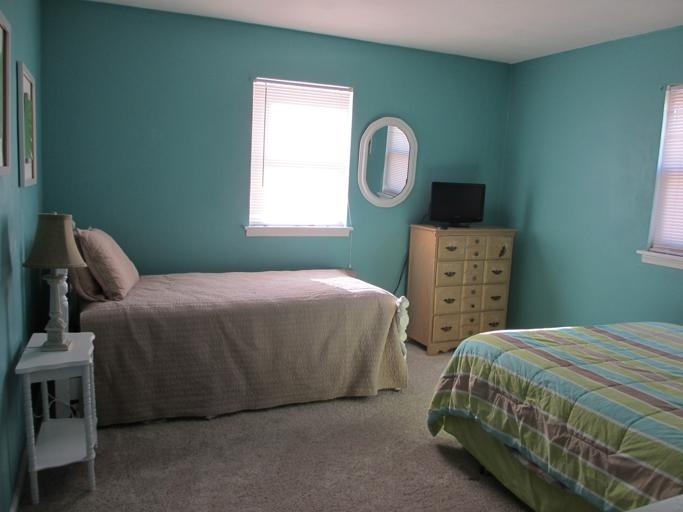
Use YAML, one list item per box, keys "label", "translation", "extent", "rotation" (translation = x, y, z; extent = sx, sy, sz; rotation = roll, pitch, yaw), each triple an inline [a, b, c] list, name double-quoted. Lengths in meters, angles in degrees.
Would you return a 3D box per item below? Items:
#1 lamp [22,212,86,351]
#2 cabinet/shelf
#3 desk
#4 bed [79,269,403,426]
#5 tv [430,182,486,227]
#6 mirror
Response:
- label: "lamp"
  translation: [-1.624, 0.127, 2.873]
  extent: [0.284, 0.741, 0.430]
  rotation: [-3, 10, -33]
- label: "cabinet/shelf"
  translation: [1.195, 0.306, 5.139]
  extent: [0.865, 1.270, 0.564]
  rotation: [-2, 13, -16]
- label: "desk"
  translation: [-1.601, 0.919, 2.839]
  extent: [0.395, 0.749, 0.760]
  rotation: [-2, 8, -16]
- label: "bed"
  translation: [-0.781, 0.493, 3.793]
  extent: [1.668, 0.612, 1.049]
  rotation: [-3, 8, -20]
- label: "tv"
  translation: [1.119, -0.510, 4.991]
  extent: [0.421, 0.333, 0.119]
  rotation: [1, 2, -9]
- label: "mirror"
  translation: [0.421, -0.936, 4.932]
  extent: [0.755, 1.178, 0.057]
  rotation: [-3, 7, -24]
